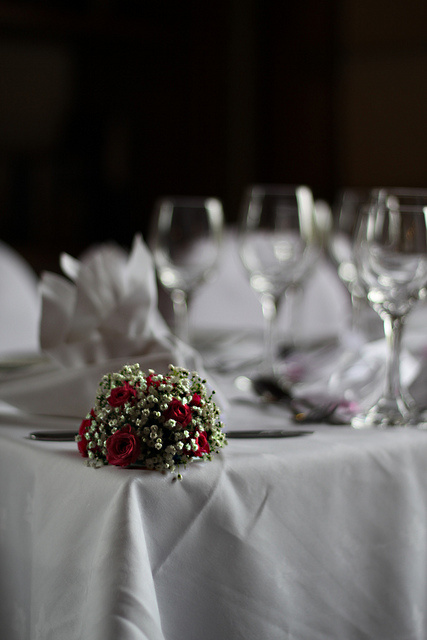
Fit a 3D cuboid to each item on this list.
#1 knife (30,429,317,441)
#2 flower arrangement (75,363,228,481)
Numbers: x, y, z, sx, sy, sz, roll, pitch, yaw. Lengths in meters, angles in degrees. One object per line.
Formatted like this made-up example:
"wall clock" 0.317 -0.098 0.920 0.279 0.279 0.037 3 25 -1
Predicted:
"knife" -0.023 0.068 0.359 0.147 0.007 0.017 1 -5 -16
"flower arrangement" -0.037 0.055 0.350 0.085 0.042 0.076 -3 18 -2
